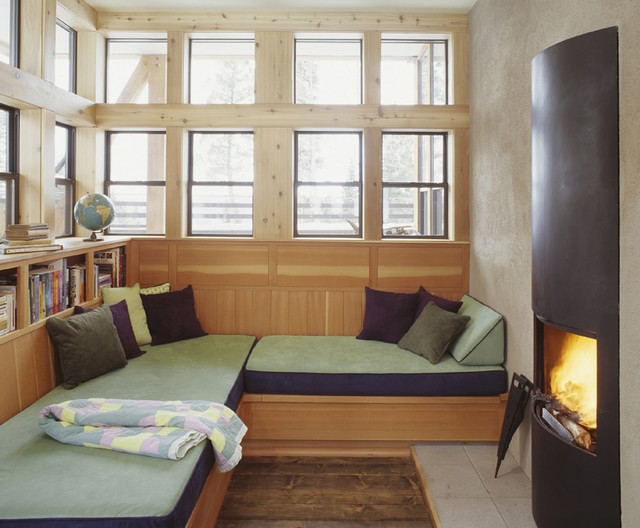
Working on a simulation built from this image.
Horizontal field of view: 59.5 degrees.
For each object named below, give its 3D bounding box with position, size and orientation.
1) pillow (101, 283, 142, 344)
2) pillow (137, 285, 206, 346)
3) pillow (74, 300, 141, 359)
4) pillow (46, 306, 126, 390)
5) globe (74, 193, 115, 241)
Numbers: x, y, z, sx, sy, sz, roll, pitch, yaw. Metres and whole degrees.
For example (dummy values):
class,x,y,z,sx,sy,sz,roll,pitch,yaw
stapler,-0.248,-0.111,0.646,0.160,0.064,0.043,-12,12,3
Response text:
class,x,y,z,sx,sy,sz,roll,pitch,yaw
pillow,-1.561,0.424,4.384,0.115,0.404,0.384,-26,-16,24
pillow,-1.248,0.346,4.517,0.534,0.562,0.164,-12,24,-36
pillow,-1.545,0.520,4.096,0.262,0.516,0.573,-23,-4,-2
pillow,-1.569,0.570,3.680,0.209,0.403,0.458,-2,5,29
globe,-1.801,-0.376,4.449,0.287,0.404,0.221,0,13,-22
